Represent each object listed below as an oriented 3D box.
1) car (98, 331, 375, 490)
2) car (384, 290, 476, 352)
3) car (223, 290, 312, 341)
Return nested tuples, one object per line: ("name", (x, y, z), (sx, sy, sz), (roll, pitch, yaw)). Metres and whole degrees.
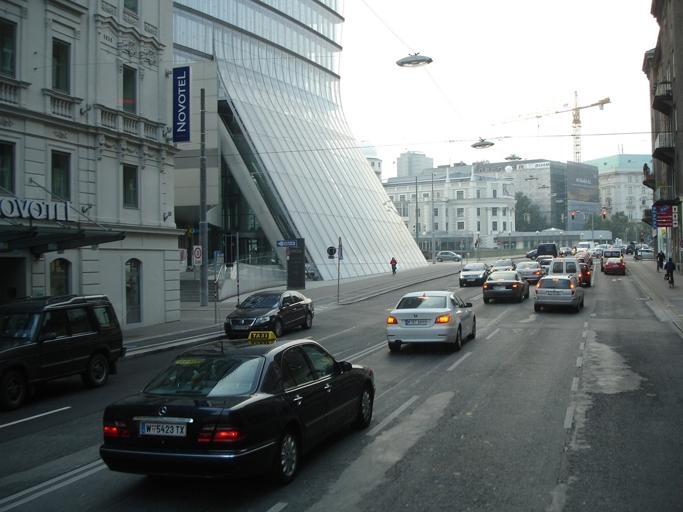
("car", (-1.597, 2.562, 12.507), (4.329, 2.108, 1.896), (-4, 4, -43))
("car", (2.740, 1.881, 22.049), (1.662, 1.498, 4.119), (0, 0, 19))
("car", (-2.843, 2.301, 27.423), (2.319, 1.837, 2.812), (0, 4, 24))
